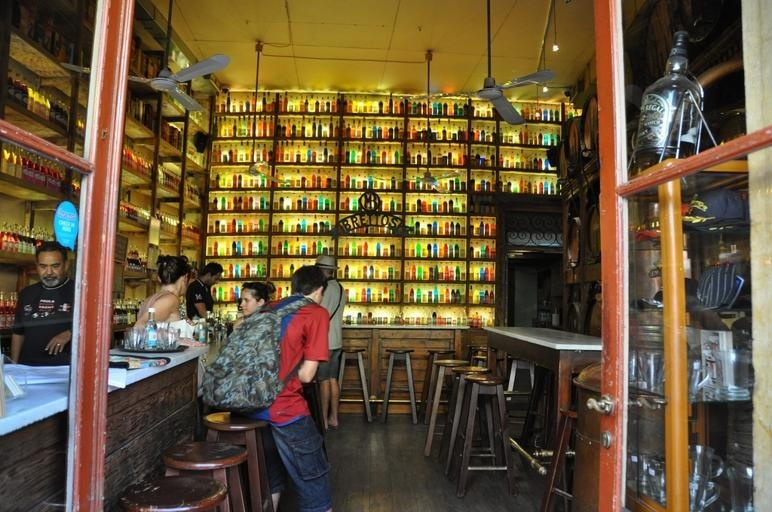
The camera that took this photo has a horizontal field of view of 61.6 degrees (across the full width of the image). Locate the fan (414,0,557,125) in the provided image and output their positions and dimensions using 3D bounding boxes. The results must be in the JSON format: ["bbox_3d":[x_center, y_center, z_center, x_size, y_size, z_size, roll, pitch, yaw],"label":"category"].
[{"bbox_3d":[1.010,-2.066,6.797,0.922,1.239,1.156,-10,-18,40],"label":"fan"}]

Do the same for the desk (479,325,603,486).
[{"bbox_3d":[1.096,0.880,4.477,0.611,0.754,1.870,0,-7,8],"label":"desk"}]

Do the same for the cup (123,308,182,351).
[{"bbox_3d":[-1.221,0.380,3.386,0.217,0.178,0.221,2,-3,0],"label":"cup"}]

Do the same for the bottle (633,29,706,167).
[{"bbox_3d":[0.855,-0.475,1.968,0.052,0.406,0.220,6,-8,-36],"label":"bottle"}]

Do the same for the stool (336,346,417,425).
[{"bbox_3d":[-0.114,1.329,6.510,0.715,0.608,0.299,-1,-4,6],"label":"stool"}]

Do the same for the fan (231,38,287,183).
[{"bbox_3d":[-1.408,-1.494,7.722,0.417,1.510,1.726,2,-7,-12],"label":"fan"}]

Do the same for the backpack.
[{"bbox_3d":[-0.666,0.517,3.173,0.561,0.590,0.346,9,-12,-22],"label":"backpack"}]

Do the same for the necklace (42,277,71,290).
[{"bbox_3d":[-0.994,0.083,1.958,0.089,0.032,0.023,-1,-7,17],"label":"necklace"}]
